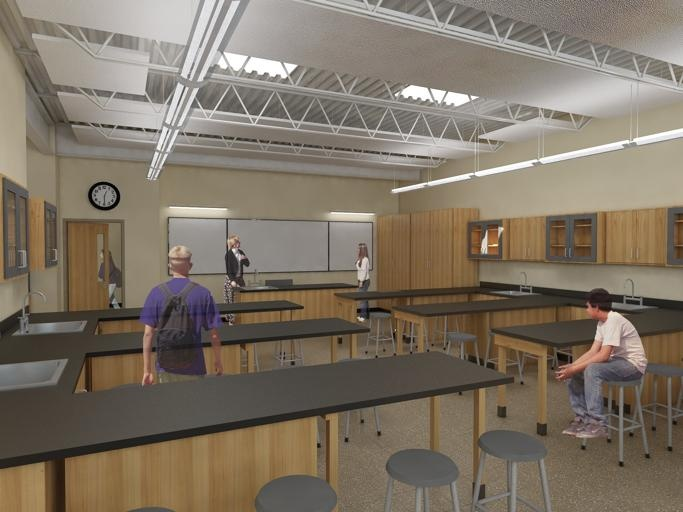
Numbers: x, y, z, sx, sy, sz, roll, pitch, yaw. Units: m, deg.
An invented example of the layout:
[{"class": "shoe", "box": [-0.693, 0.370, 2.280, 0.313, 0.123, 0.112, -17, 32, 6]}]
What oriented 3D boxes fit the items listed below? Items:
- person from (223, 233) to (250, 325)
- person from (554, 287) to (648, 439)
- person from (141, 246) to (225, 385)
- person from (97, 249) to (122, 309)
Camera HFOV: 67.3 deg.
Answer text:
[{"class": "person", "box": [-1.755, 0.222, 8.540, 0.381, 1.118, 0.844, -2, 1, -12]}, {"class": "person", "box": [2.467, 1.081, 4.970, 0.933, 1.521, 0.431, -2, 1, -20]}, {"class": "person", "box": [-1.293, 0.829, 4.166, 0.642, 1.862, 0.357, 0, 19, -15]}, {"class": "person", "box": [-4.503, 0.441, 9.992, 0.631, 1.123, 0.186, -1, 1, 33]}]
